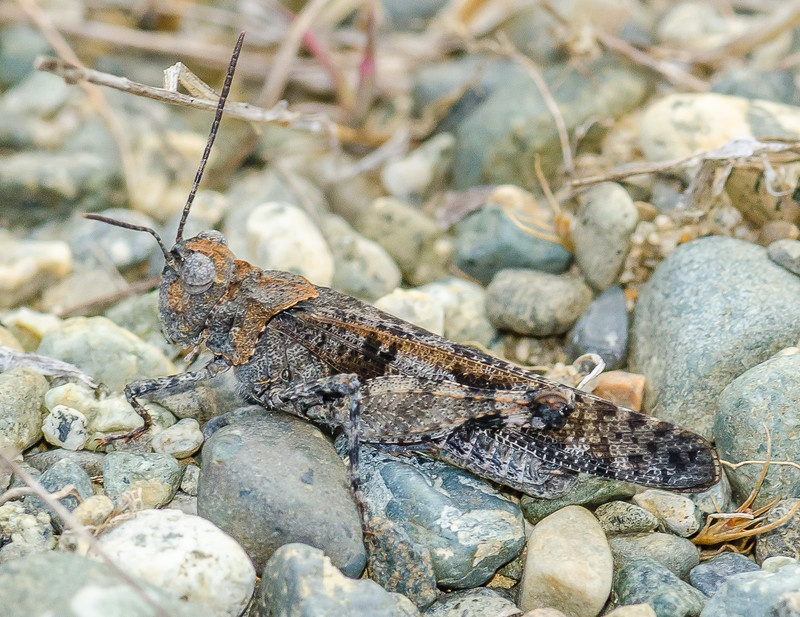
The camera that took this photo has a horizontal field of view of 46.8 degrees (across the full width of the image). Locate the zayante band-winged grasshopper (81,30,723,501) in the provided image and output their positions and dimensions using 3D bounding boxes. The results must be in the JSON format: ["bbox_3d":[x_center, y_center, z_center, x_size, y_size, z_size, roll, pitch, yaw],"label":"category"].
[{"bbox_3d":[0.078,0.350,4.092,2.519,0.500,0.564,21,63,8],"label":"zayante band-winged grasshopper"}]
